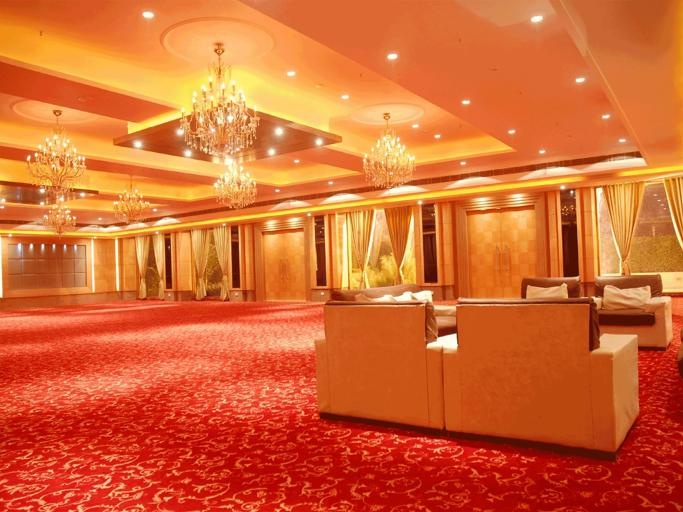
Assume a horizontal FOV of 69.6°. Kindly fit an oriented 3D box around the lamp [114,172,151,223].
[{"bbox_3d":[-6.045,-1.597,14.122,0.935,1.402,0.966,-1,1,37],"label":"lamp"}]

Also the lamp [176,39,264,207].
[{"bbox_3d":[-2.158,-2.343,8.682,1.268,2.948,1.252,-10,-9,8],"label":"lamp"}]

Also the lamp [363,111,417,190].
[{"bbox_3d":[0.954,-2.105,10.250,0.943,1.370,1.584,-3,2,4],"label":"lamp"}]
